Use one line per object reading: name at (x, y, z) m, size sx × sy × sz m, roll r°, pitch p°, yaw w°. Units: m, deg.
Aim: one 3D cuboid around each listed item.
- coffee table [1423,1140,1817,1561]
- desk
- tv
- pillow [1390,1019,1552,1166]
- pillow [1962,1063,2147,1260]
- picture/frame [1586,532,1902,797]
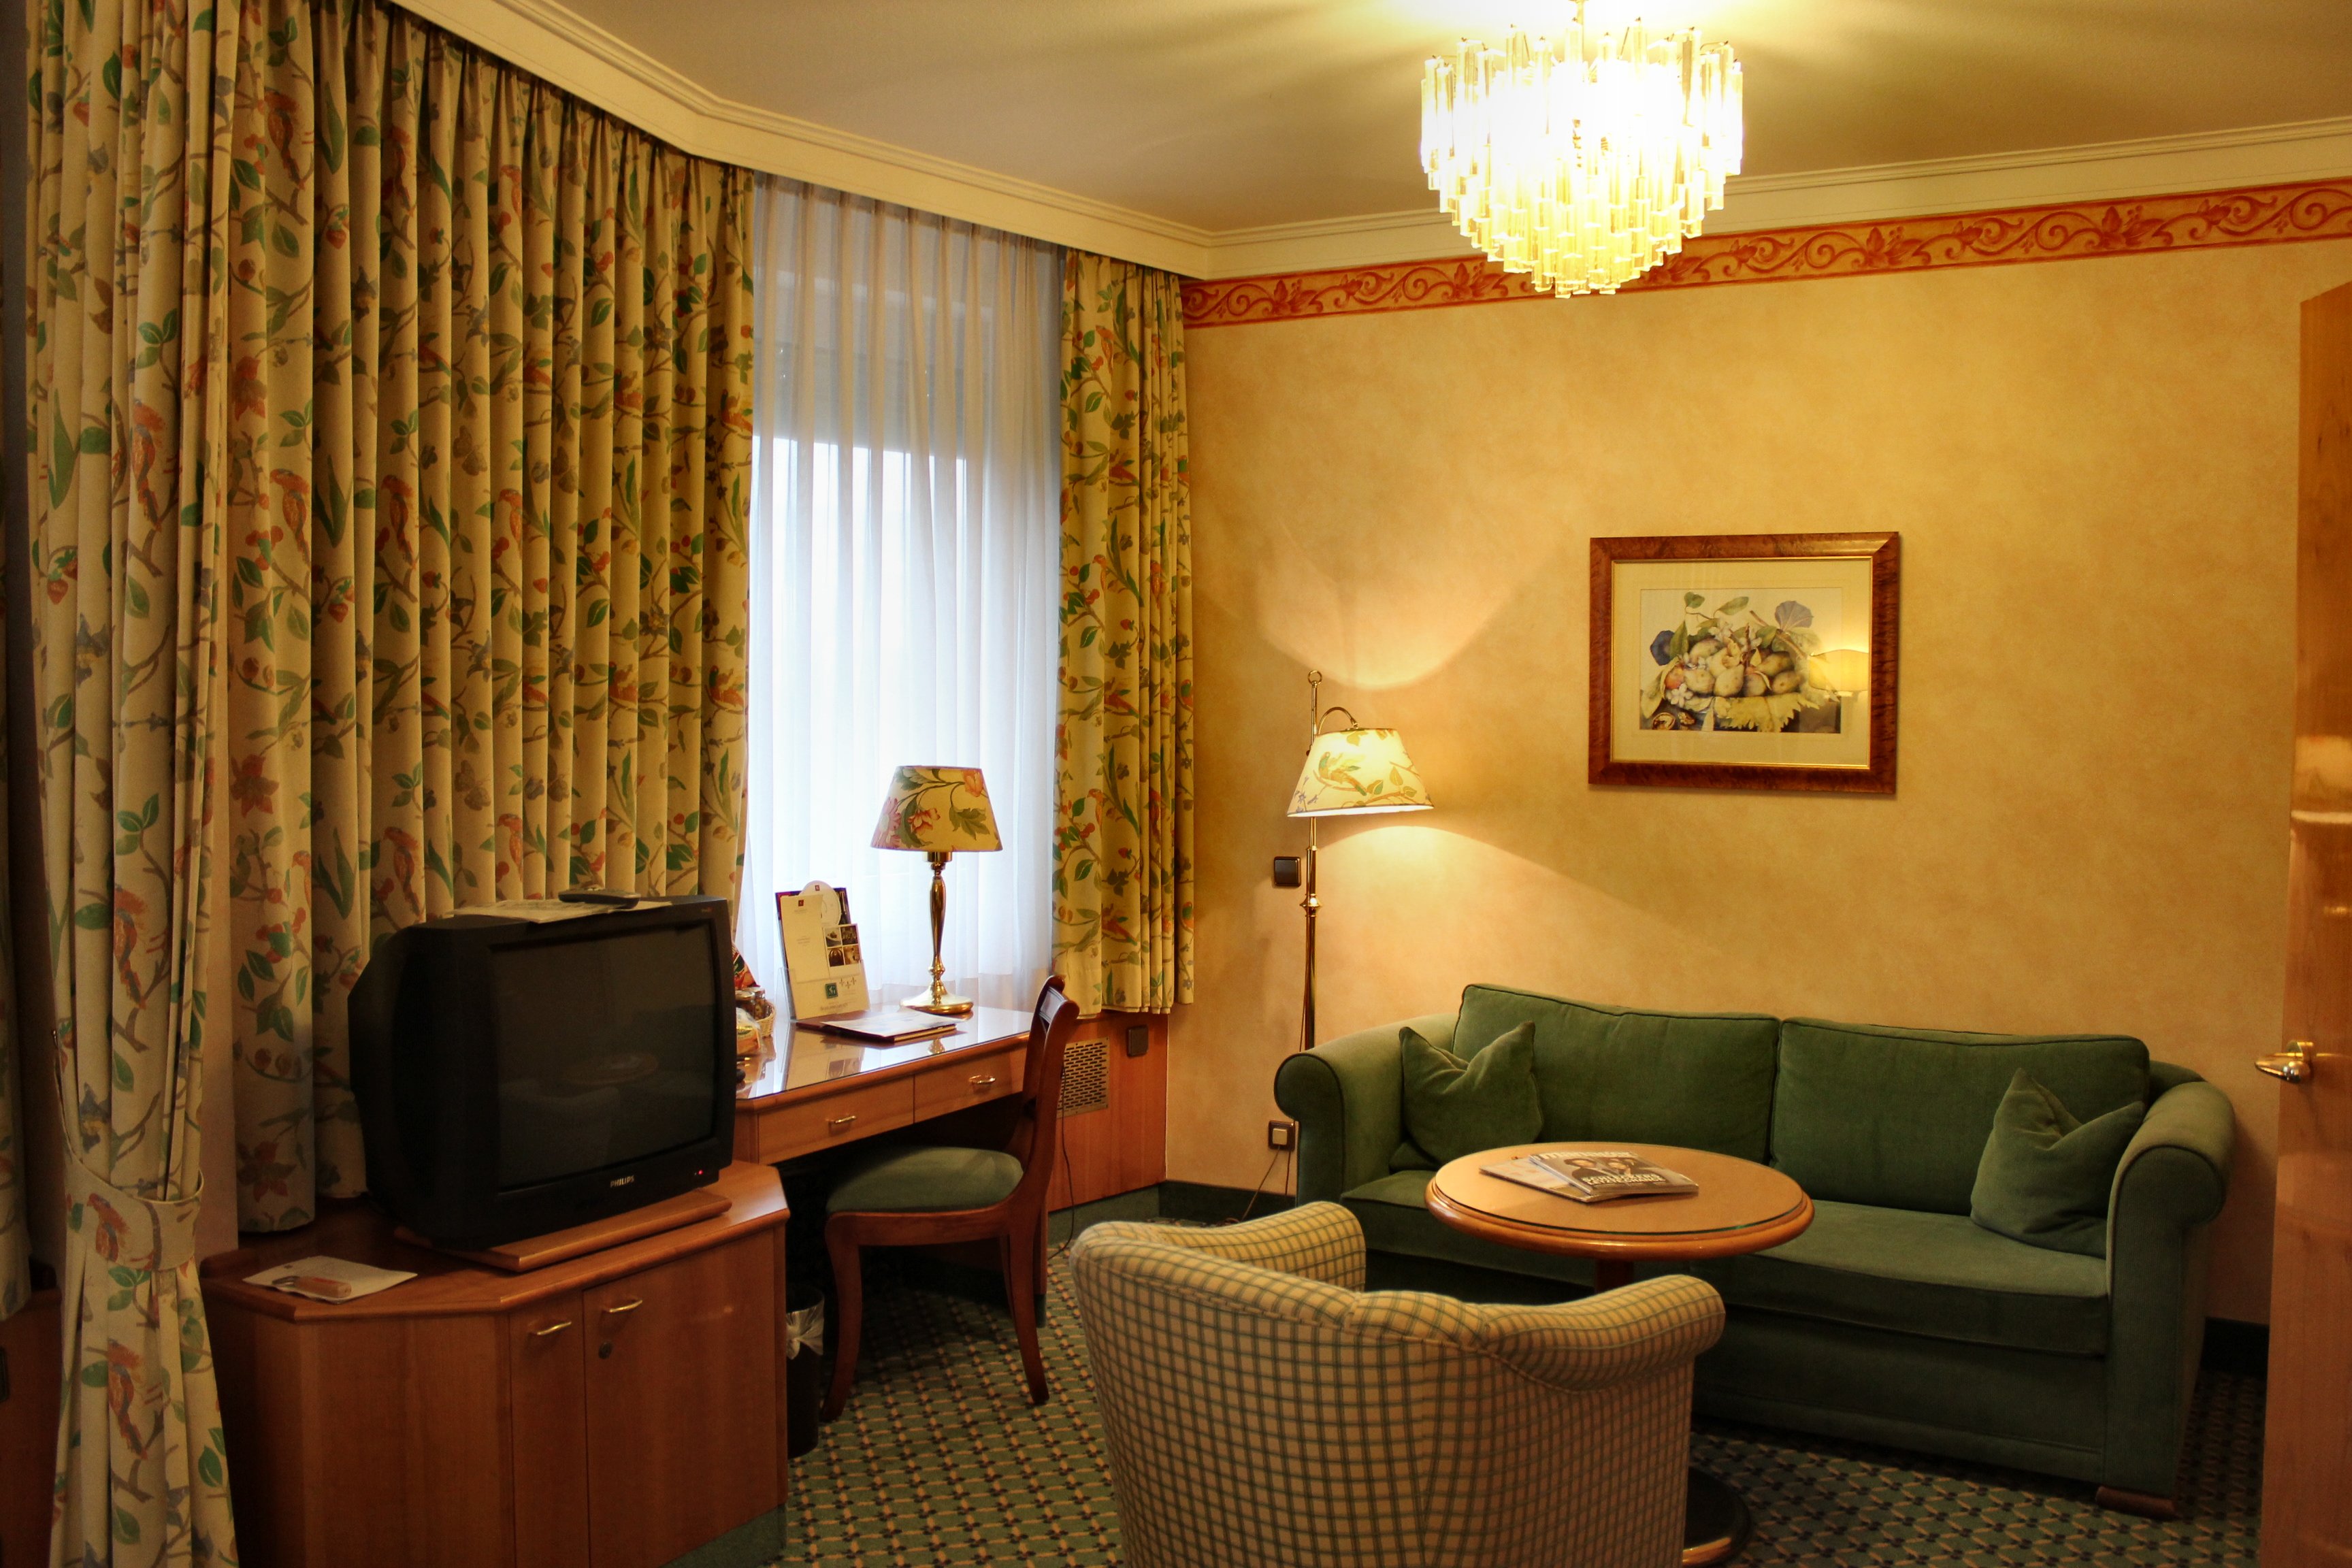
coffee table at (1.154, 1.378, 4.686) m, size 0.956 × 0.817 × 0.933 m, roll -2°, pitch 1°, yaw -34°
desk at (-0.897, 0.861, 5.233) m, size 0.365 × 0.259 × 1.065 m, roll 2°, pitch 3°, yaw 43°
tv at (-1.606, 0.548, 4.509) m, size 0.720 × 0.799 × 0.973 m, roll -1°, pitch -1°, yaw 32°
pillow at (0.903, 0.972, 5.642) m, size 0.388 × 0.374 × 0.149 m, roll -2°, pitch -24°, yaw 9°
pillow at (2.440, 1.061, 5.055) m, size 0.387 × 0.364 × 0.227 m, roll 7°, pitch -32°, yaw 44°
picture/frame at (1.869, -0.384, 5.900) m, size 0.854 × 0.750 × 0.067 m, roll 0°, pitch 2°, yaw 25°
